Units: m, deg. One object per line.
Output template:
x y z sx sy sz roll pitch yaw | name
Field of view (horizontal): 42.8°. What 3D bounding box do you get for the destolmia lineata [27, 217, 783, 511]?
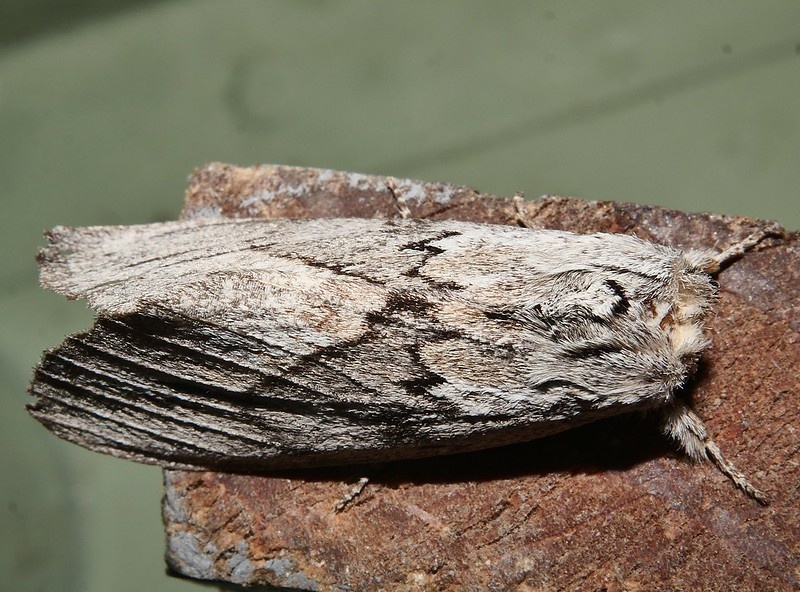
-0.159 0.190 4.672 3.006 0.978 1.107 -4 59 11 | destolmia lineata
